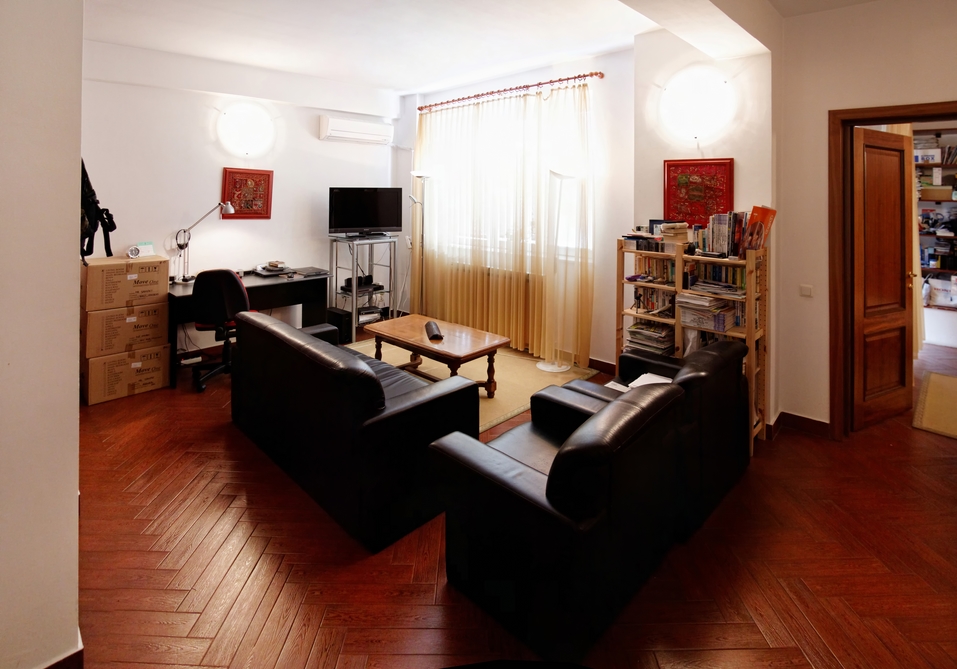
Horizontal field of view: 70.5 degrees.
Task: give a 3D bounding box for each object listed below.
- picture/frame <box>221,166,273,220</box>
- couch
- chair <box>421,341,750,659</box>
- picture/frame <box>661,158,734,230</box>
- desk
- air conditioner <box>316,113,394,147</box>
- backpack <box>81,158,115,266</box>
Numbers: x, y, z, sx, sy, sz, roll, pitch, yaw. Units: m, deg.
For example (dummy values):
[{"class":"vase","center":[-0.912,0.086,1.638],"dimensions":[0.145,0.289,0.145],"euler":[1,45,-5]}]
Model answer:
[{"class":"picture/frame","center":[-2.373,-1.454,6.880],"dimensions":[0.056,0.497,0.536],"euler":[9,9,43]},{"class":"couch","center":[-0.964,0.434,4.857],"dimensions":[1.020,1.126,1.955],"euler":[-12,22,-40]},{"class":"chair","center":[0.546,0.259,3.791],"dimensions":[1.254,1.305,2.240],"euler":[11,17,41]},{"class":"picture/frame","center":[1.691,-1.098,5.218],"dimensions":[0.548,0.598,0.040],"euler":[7,9,42]},{"class":"desk","center":[-2.349,-0.264,7.067],"dimensions":[1.602,0.915,0.594],"euler":[0,-9,22]},{"class":"air conditioner","center":[-1.382,-2.331,7.716],"dimensions":[0.123,0.324,1.028],"euler":[7,16,39]},{"class":"backpack","center":[-3.091,-0.994,5.479],"dimensions":[0.239,0.780,1.042],"euler":[-7,13,-27]}]
